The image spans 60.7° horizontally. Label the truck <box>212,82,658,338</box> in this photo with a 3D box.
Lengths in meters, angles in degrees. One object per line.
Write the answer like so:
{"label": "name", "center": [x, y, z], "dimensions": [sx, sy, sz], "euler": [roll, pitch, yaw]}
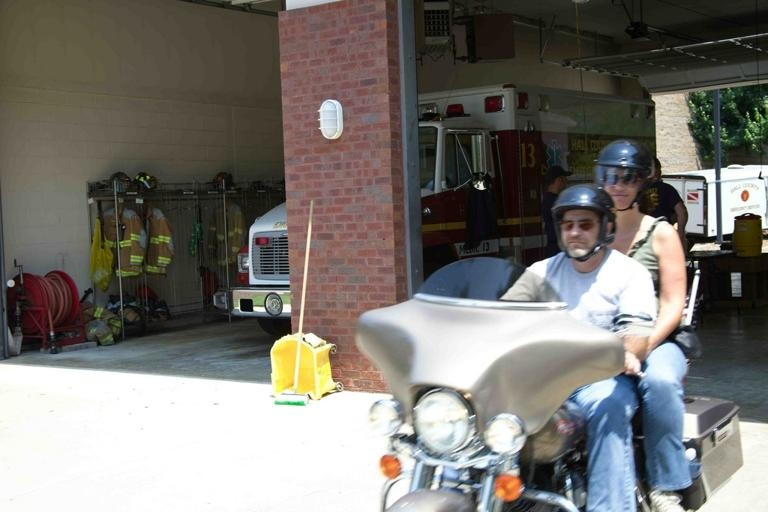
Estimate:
{"label": "truck", "center": [0.964, -1.046, 11.342], "dimensions": [6.753, 3.469, 3.492], "euler": [-5, 2, -42]}

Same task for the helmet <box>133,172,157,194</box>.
{"label": "helmet", "center": [-5.007, -1.555, 13.865], "dimensions": [0.428, 0.399, 0.521], "euler": [-3, 4, -2]}

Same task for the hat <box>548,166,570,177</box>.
{"label": "hat", "center": [2.849, -1.353, 10.648], "dimensions": [0.327, 0.171, 0.222], "euler": [-7, 11, -43]}

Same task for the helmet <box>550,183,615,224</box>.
{"label": "helmet", "center": [1.132, -0.302, 3.727], "dimensions": [0.326, 0.198, 0.230], "euler": [-1, 5, 19]}
